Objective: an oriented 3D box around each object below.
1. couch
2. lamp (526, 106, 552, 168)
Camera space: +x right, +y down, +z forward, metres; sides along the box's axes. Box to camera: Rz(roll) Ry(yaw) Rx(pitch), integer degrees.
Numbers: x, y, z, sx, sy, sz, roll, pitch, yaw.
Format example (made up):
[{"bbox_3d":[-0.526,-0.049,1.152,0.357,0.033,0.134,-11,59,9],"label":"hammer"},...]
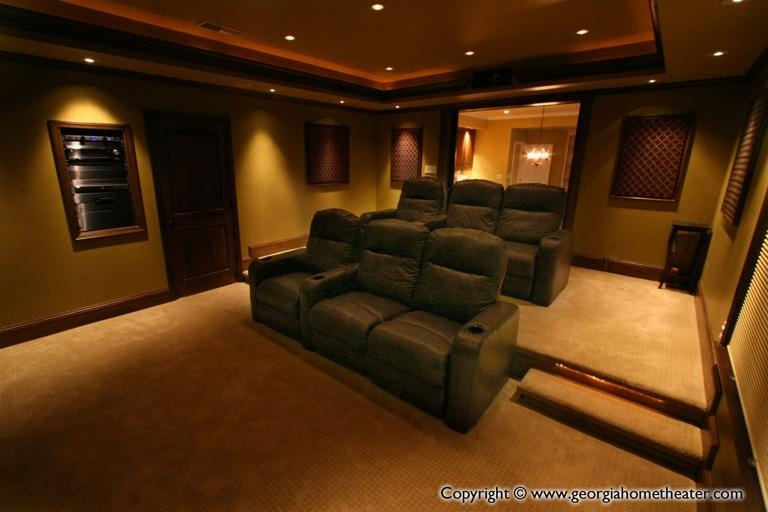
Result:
[{"bbox_3d":[0.382,0.186,6.104,3.093,2.148,2.899,11,18,34],"label":"couch"},{"bbox_3d":[3.570,-2.665,10.907,0.612,1.241,1.146,5,16,16],"label":"lamp"}]
